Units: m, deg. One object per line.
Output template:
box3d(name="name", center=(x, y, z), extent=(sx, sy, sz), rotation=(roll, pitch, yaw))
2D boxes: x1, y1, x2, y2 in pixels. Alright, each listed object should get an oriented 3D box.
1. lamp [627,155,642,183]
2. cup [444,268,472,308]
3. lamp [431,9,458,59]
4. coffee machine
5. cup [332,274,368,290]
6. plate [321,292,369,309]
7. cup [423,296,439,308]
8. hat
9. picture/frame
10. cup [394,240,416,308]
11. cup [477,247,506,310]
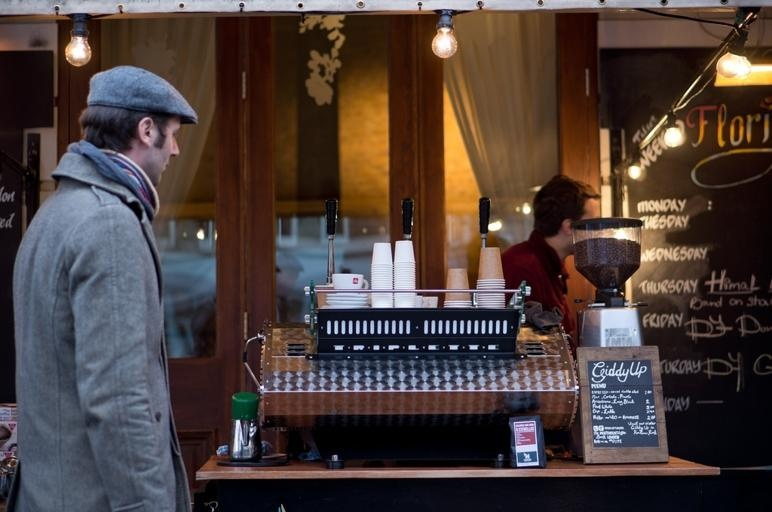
box3d(name="lamp", center=(1.477, -0.531, 7.127), extent=(0.092, 0.142, 0.229), rotation=(-3, -7, 11))
box3d(name="cup", center=(0.340, 0.158, 5.870), extent=(0.174, 0.191, 0.161), rotation=(-1, 3, 0))
box3d(name="lamp", center=(0.290, -1.111, 6.051), extent=(0.111, 0.214, 0.286), rotation=(-2, -6, 2))
box3d(name="coffee machine", center=(1.100, 0.134, 5.895), extent=(0.335, 0.648, 0.234), rotation=(-3, -7, 11))
box3d(name="cup", center=(-0.175, 0.129, 5.747), extent=(0.111, 0.052, 0.091), rotation=(2, -7, -8))
box3d(name="plate", center=(-0.193, 0.220, 5.739), extent=(0.220, 0.080, 0.138), rotation=(-2, -6, -3))
box3d(name="cup", center=(0.216, 0.228, 5.872), extent=(0.081, 0.059, 0.044), rotation=(0, -5, 1))
box3d(name="hat", center=(-1.069, -0.721, 5.359), extent=(0.512, 0.207, 0.382), rotation=(9, -2, -14))
box3d(name="picture/frame", center=(1.108, 0.724, 5.698), extent=(0.530, 0.719, 0.077), rotation=(0, -16, -5))
box3d(name="cup", center=(0.083, 0.087, 5.766), extent=(0.103, 0.340, 0.189), rotation=(-2, -6, 1))
box3d(name="cup", center=(0.508, 0.108, 5.850), extent=(0.140, 0.317, 0.293), rotation=(-3, -6, 5))
